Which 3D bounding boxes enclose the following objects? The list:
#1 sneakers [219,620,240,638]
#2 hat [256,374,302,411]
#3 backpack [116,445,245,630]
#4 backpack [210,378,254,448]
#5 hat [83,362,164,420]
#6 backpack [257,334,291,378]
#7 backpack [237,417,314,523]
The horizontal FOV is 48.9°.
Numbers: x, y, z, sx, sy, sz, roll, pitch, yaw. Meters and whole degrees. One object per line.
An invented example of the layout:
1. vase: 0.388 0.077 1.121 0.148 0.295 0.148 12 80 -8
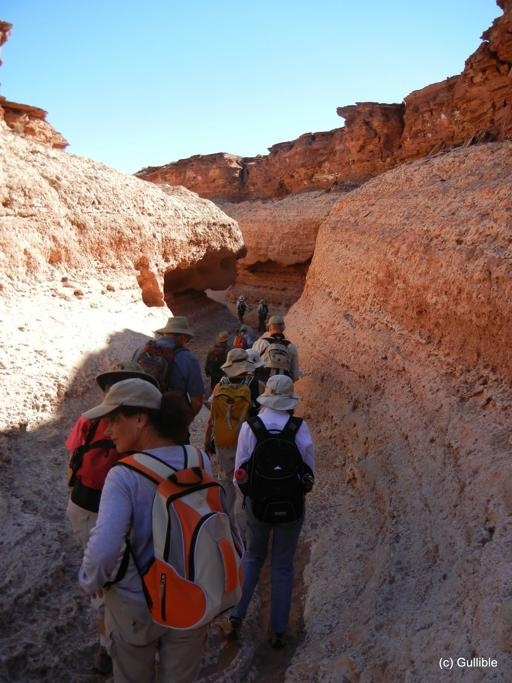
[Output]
1. sneakers: -0.129 1.357 2.695 0.061 0.065 0.158 8 -8 -5
2. hat: 0.107 0.237 2.642 0.145 0.100 0.191 5 10 4
3. backpack: -0.208 0.596 1.731 0.312 0.491 0.330 -1 4 35
4. backpack: -0.090 0.429 3.300 0.265 0.389 0.284 4 -2 -44
5. hat: -0.420 0.163 1.894 0.302 0.145 0.188 0 -3 -12
6. backpack: 0.077 0.115 4.009 0.226 0.310 0.318 2 18 4
7. backpack: 0.085 0.578 2.486 0.329 0.456 0.198 3 12 6
